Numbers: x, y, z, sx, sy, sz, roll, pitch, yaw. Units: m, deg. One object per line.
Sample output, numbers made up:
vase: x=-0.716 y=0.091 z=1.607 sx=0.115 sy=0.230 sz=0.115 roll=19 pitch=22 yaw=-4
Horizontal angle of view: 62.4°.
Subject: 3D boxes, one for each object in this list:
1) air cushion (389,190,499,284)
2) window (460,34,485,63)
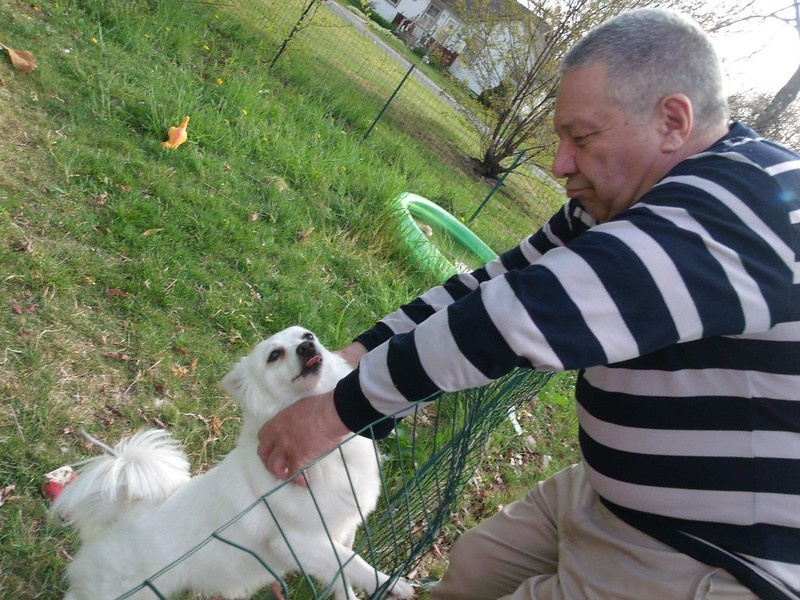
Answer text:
air cushion: x=0.437 y=-0.681 z=7.362 sx=1.155 sy=0.261 sz=1.135 roll=22 pitch=22 yaw=-40
window: x=1.558 y=-5.326 z=14.011 sx=0.098 sy=0.379 sz=0.391 roll=10 pitch=67 yaw=-36
